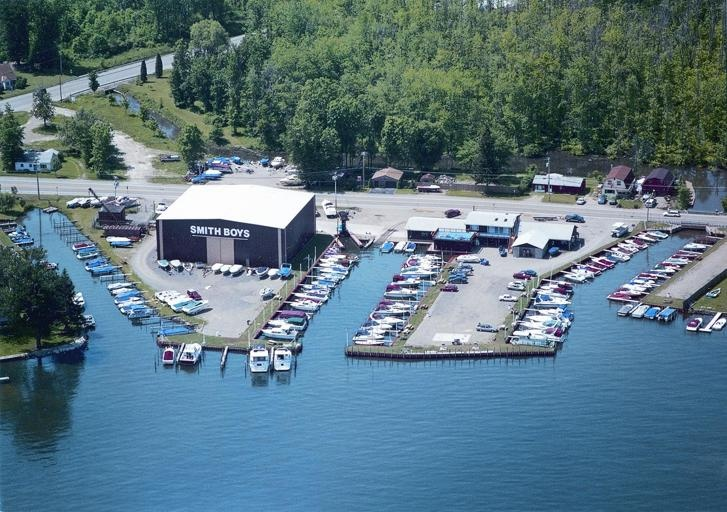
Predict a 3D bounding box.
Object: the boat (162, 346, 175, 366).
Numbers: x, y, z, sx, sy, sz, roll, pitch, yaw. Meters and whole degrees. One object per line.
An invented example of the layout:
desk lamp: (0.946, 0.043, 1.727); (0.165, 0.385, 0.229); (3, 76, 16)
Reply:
boat: (-27.287, 14.217, 224.238); (2.014, 1.682, 2.191); (-3, 21, -9)

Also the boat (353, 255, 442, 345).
boat: (5.399, 6.950, 235.278); (6.093, 4.444, 24.857); (8, 21, 20)

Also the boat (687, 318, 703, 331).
boat: (47.612, 9.884, 229.998); (1.863, 1.162, 3.221); (11, 23, 26)

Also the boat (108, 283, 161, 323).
boat: (-34.020, 7.068, 236.048); (4.447, 2.474, 9.787); (-10, 23, -26)

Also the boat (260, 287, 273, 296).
boat: (-14.145, 5.341, 236.970); (1.570, 0.619, 2.389); (12, 23, 28)

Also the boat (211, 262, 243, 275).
boat: (-20.666, 2.060, 243.886); (4.632, 0.999, 2.408); (3, 20, 5)

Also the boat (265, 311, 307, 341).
boat: (-11.121, 10.014, 229.581); (4.338, 1.404, 4.343); (1, 28, 14)

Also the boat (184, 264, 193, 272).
boat: (-26.749, 1.828, 245.143); (1.214, 0.450, 2.734); (-1, 20, -4)

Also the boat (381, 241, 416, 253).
boat: (5.578, -1.354, 252.599); (3.850, 0.882, 2.431); (0, 36, -6)

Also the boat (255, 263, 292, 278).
boat: (-13.596, 2.443, 242.555); (3.658, 1.408, 2.563); (-6, 36, 1)

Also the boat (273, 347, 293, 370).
boat: (-11.224, 14.590, 223.332); (2.899, 2.462, 2.397); (4, 21, 9)

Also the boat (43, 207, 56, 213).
boat: (-51.968, -7.614, 266.452); (2.273, 0.717, 1.695); (1, 20, 0)

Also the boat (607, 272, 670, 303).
boat: (40.881, 4.874, 237.085); (2.132, 1.086, 5.472); (17, 32, 37)

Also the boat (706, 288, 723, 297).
boat: (51.655, 5.543, 236.357); (1.676, 0.714, 2.291); (15, 24, 34)

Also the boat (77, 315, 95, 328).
boat: (-39.565, 9.459, 231.163); (1.733, 1.957, 2.908); (1, 20, 1)

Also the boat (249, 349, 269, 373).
boat: (-14.428, 14.715, 222.993); (2.999, 2.583, 2.571); (-2, 20, -6)

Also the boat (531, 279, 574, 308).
boat: (27.697, 5.724, 236.130); (4.147, 1.364, 3.593); (2, 33, 6)
